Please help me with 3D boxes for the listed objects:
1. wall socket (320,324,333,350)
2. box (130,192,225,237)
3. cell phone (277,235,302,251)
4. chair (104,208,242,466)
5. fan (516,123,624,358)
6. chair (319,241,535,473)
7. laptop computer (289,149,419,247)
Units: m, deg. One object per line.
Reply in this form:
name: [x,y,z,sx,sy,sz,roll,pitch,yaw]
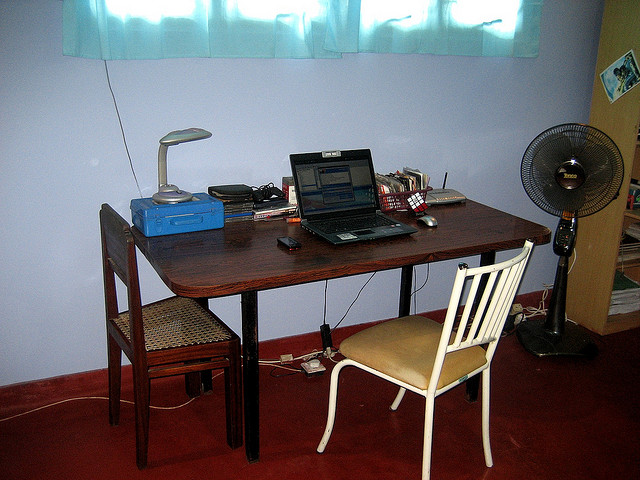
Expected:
wall socket: [0.052,0.592,3.034,0.090,0.164,0.066,-18,24,-37]
box: [-0.700,-0.136,2.431,0.442,0.165,0.235,-11,21,-21]
cell phone: [-0.145,0.000,2.247,0.053,0.025,0.106,-7,27,-23]
chair: [-0.718,0.431,2.266,0.549,1.161,0.516,-10,20,-20]
fan: [1.482,0.020,2.968,0.552,1.428,0.359,1,19,11]
chair: [0.507,0.619,2.450,0.610,1.150,0.744,-16,28,-39]
laptop computer: [0.163,-0.227,2.425,0.594,0.377,0.530,-3,17,-10]
